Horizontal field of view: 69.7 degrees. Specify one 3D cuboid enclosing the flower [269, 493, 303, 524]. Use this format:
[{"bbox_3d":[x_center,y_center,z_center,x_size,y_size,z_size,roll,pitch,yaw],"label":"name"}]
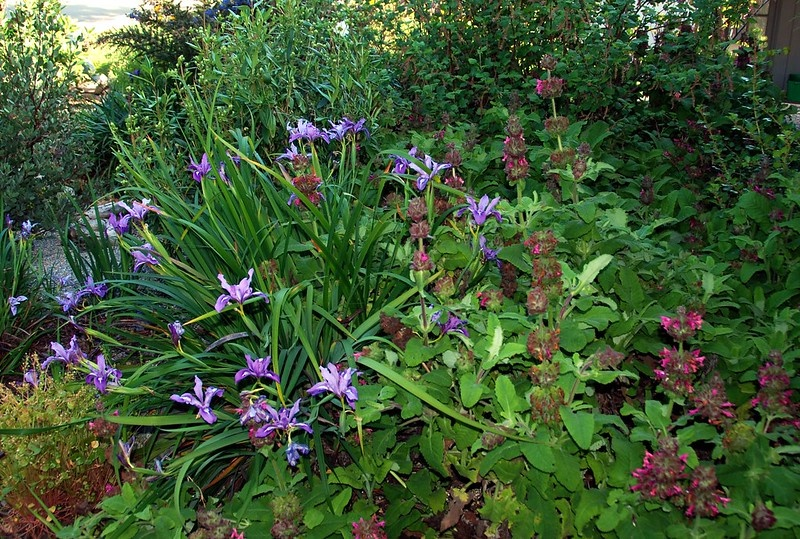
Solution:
[{"bbox_3d":[-0.549,1.166,2.848,0.121,0.133,0.131,-13,32,29],"label":"flower"}]
